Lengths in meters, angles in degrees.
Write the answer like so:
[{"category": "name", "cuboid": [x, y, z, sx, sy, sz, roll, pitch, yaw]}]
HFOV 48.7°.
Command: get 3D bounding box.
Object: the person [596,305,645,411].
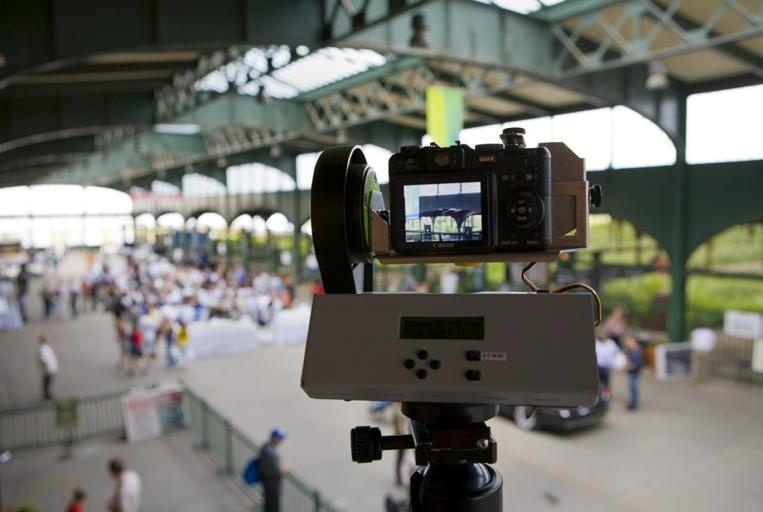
[{"category": "person", "cuboid": [4.134, 1.905, 14.724, 0.737, 1.393, 1.331, 0, 7, 15]}]
